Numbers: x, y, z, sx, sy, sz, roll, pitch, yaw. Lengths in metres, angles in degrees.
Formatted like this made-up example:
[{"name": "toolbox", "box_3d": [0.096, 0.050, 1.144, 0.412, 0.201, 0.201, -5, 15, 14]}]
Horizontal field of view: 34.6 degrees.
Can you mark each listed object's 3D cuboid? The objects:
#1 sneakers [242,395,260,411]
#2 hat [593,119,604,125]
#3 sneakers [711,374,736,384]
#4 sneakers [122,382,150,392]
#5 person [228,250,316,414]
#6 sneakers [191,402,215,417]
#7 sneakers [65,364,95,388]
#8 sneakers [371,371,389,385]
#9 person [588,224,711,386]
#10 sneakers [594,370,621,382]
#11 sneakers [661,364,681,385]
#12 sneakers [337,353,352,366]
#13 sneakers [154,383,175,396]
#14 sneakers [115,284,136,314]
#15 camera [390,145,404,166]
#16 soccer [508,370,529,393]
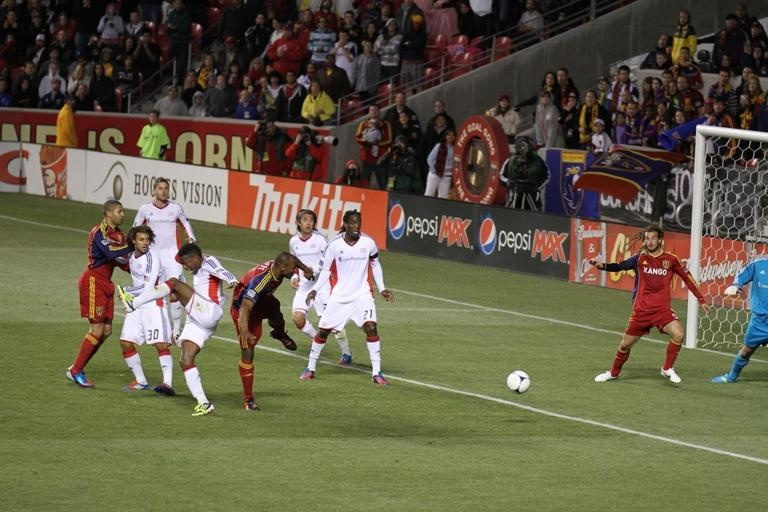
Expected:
[{"name": "sneakers", "box_3d": [-2.029, 2.245, 18.812, 0.135, 0.131, 0.280, -4, 0, -25]}, {"name": "hat", "box_3d": [5.145, -3.203, 29.353, 0.250, 0.147, 0.363, 4, 14, 11]}, {"name": "sneakers", "box_3d": [5.731, 2.065, 20.795, 0.308, 0.127, 0.186, 3, 4, 22]}, {"name": "sneakers", "box_3d": [-3.959, 2.040, 19.562, 0.375, 0.151, 0.139, 3, 3, 2]}, {"name": "person", "box_3d": [-1.809, 1.335, 20.291, 0.831, 1.894, 1.523, 22, 47, 21]}, {"name": "sneakers", "box_3d": [-2.759, 2.291, 18.643, 0.388, 0.184, 0.151, -5, 13, -22]}, {"name": "sneakers", "box_3d": [-4.869, 1.905, 19.740, 0.560, 0.257, 0.212, 23, 26, 14]}, {"name": "sneakers", "box_3d": [-0.055, 1.964, 20.277, 0.255, 0.195, 0.356, -3, 14, -15]}, {"name": "person", "box_3d": [4.404, 0.794, 20.637, 1.281, 2.522, 0.880, 4, 13, 12]}, {"name": "sneakers", "box_3d": [3.773, 2.011, 20.689, 0.429, 0.184, 0.158, -3, 19, -7]}, {"name": "sneakers", "box_3d": [4.854, 1.973, 20.629, 0.174, 0.210, 0.423, -12, 27, -35]}, {"name": "sneakers", "box_3d": [-0.683, 1.785, 21.370, 0.182, 0.162, 0.354, 1, 3, -5]}, {"name": "sneakers", "box_3d": [-3.460, 2.084, 19.420, 0.285, 0.158, 0.131, 25, 11, -9]}, {"name": "sneakers", "box_3d": [-4.338, 0.721, 20.629, 0.243, 0.575, 0.191, -26, -11, -14]}, {"name": "camera", "box_3d": [0.311, -2.573, 31.254, 0.165, 0.435, 0.310, 3, 40, -17]}, {"name": "soccer", "box_3d": [2.162, 1.942, 19.652, 0.325, 0.339, 0.335, 1, 15, 11]}]
